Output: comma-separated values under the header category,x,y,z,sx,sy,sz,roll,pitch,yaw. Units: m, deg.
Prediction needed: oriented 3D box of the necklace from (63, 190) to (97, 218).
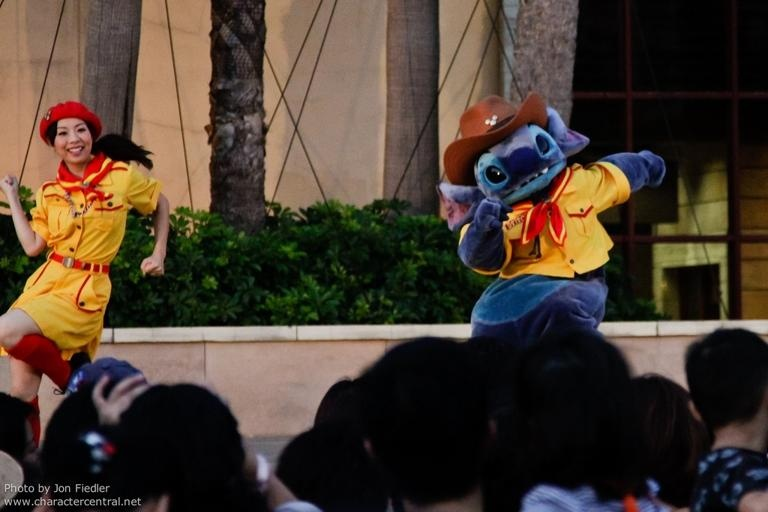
category,x,y,z,sx,sy,sz,roll,pitch,yaw
necklace,-2.964,-0.516,18.629,0.265,0.247,0.087,-1,-8,-9

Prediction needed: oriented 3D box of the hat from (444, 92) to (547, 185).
category,x,y,z,sx,sy,sz,roll,pitch,yaw
hat,1.005,-1.212,18.534,0.404,0.998,0.876,47,-6,3

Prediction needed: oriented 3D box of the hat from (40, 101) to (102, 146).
category,x,y,z,sx,sy,sz,roll,pitch,yaw
hat,-3.104,-1.405,18.963,0.688,0.243,0.687,-7,-6,2
